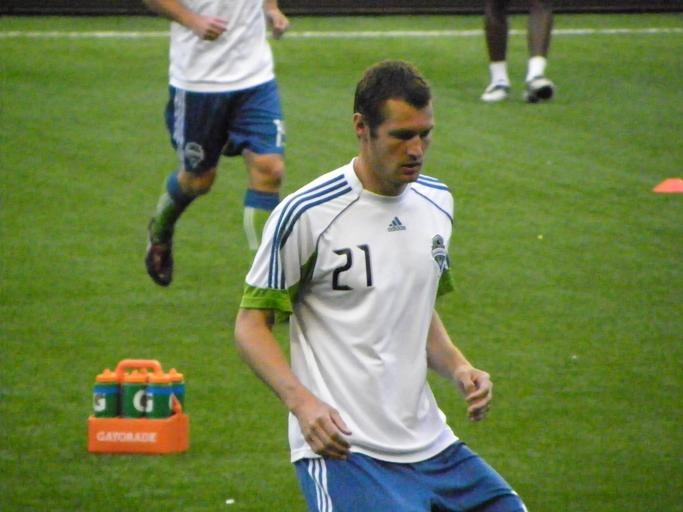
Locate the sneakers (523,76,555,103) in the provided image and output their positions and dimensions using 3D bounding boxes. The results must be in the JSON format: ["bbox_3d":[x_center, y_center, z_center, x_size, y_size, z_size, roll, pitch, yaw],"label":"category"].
[{"bbox_3d":[1.336,-1.150,10.045,0.187,0.169,0.417,0,5,3],"label":"sneakers"}]

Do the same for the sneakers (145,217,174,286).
[{"bbox_3d":[-1.144,-0.031,9.255,0.257,0.381,0.091,-6,-19,6],"label":"sneakers"}]

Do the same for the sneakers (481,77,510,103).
[{"bbox_3d":[1.069,-1.167,10.222,0.197,0.131,0.330,0,10,-2],"label":"sneakers"}]
